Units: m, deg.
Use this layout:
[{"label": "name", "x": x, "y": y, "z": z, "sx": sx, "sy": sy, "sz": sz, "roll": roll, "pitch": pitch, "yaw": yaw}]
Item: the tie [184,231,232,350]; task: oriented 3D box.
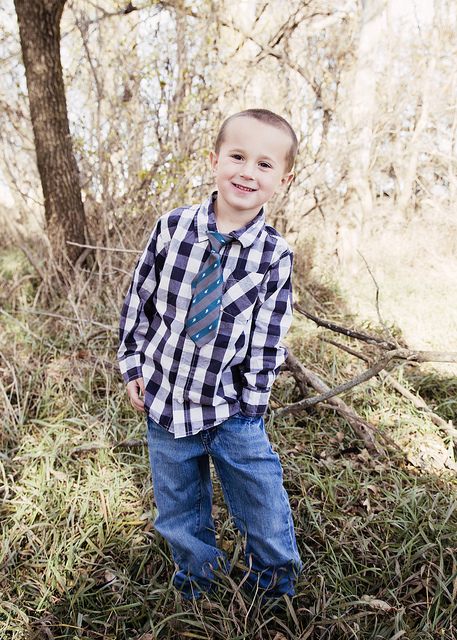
[{"label": "tie", "x": -0.066, "y": -0.094, "z": 1.855, "sx": 0.117, "sy": 0.370, "sz": 0.148, "roll": 5, "pitch": 22, "yaw": -1}]

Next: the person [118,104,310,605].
[{"label": "person", "x": -0.005, "y": 0.183, "z": 2.022, "sx": 0.607, "sy": 1.764, "sz": 0.812, "roll": -10, "pitch": 26, "yaw": -33}]

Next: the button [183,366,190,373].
[{"label": "button", "x": -0.136, "y": 0.163, "z": 1.876, "sx": 0.026, "sy": 0.021, "sz": 0.006, "roll": 0, "pitch": -5, "yaw": -3}]

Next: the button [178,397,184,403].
[{"label": "button", "x": -0.158, "y": 0.266, "z": 1.882, "sx": 0.023, "sy": 0.020, "sz": 0.005, "roll": 0, "pitch": -2, "yaw": -4}]
